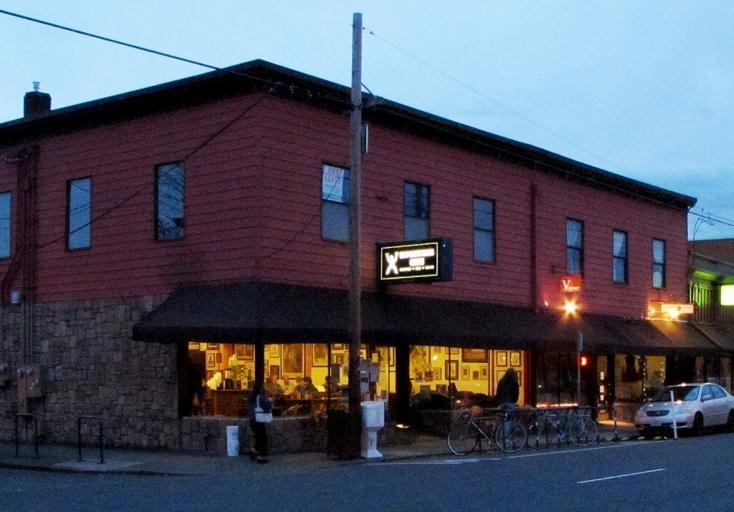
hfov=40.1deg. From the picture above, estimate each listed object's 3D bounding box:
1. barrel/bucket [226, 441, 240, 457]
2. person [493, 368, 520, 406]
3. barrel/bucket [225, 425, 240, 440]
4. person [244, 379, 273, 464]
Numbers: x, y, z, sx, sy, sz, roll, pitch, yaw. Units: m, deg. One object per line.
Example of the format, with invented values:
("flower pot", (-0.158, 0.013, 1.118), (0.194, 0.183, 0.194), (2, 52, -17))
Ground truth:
("barrel/bucket", (-3.867, 5.382, 29.046), (0.378, 0.839, 0.380), (-1, -14, 0))
("person", (4.442, 4.145, 31.991), (0.668, 1.301, 1.640), (-2, -14, 6))
("barrel/bucket", (-3.899, 5.108, 29.186), (0.370, 0.412, 0.355), (-1, -14, 0))
("person", (-3.029, 4.678, 28.238), (0.627, 2.225, 0.614), (-1, -14, 3))
